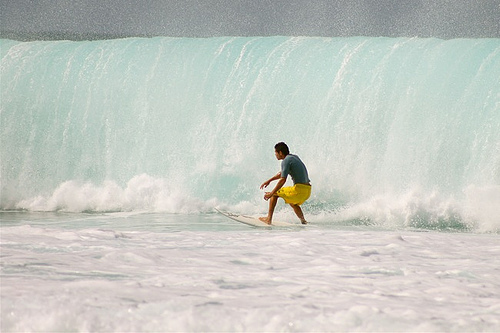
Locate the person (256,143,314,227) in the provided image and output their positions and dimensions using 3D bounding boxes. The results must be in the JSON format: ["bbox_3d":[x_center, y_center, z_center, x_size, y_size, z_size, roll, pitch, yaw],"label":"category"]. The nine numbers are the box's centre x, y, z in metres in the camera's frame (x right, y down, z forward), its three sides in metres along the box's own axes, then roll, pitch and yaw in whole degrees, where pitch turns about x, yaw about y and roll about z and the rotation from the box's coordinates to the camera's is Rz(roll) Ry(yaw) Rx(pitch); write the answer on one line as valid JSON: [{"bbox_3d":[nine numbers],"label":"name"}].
[{"bbox_3d":[0.835,0.399,14.753,1.016,1.831,0.468,2,6,0],"label":"person"}]

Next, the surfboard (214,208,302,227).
[{"bbox_3d":[0.069,1.198,15.010,2.353,0.212,0.532,4,12,33],"label":"surfboard"}]
